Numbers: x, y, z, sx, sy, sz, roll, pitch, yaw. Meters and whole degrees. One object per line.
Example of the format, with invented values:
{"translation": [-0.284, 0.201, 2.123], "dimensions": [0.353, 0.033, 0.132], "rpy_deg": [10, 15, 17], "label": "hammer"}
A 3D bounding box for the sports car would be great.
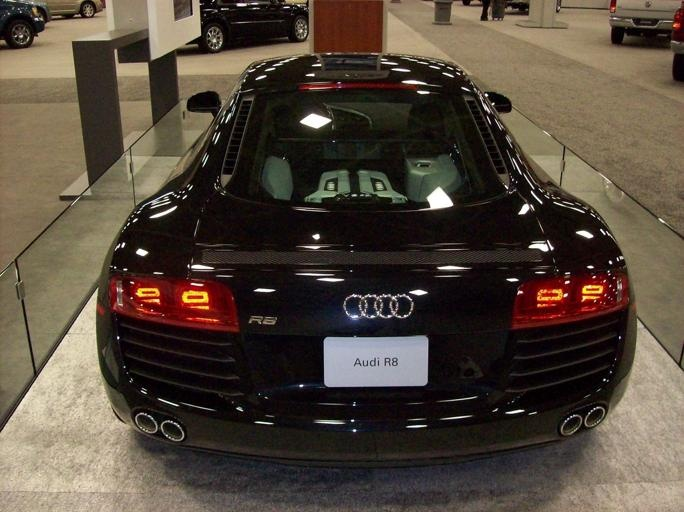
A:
{"translation": [0.084, -0.127, 2.972], "dimensions": [1.881, 0.840, 3.202], "rpy_deg": [-1, 16, 0], "label": "sports car"}
